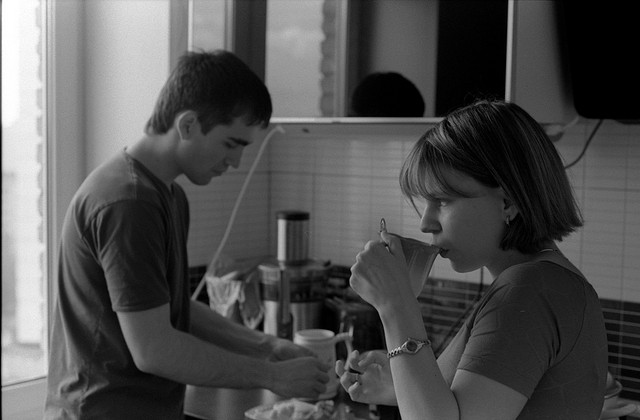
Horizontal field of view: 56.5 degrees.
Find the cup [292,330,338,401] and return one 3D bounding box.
[{"bbox_3d":[0.007,0.509,2.025,0.221,0.204,0.144,3,-6,-39],"label":"cup"}]

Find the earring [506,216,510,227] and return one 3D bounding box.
[{"bbox_3d":[0.407,0.025,1.283,0.006,0.024,0.010,3,9,21],"label":"earring"}]

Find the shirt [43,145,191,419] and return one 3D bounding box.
[{"bbox_3d":[-0.555,0.222,1.573,0.377,0.750,0.251,-3,9,-18],"label":"shirt"}]

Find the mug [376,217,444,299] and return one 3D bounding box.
[{"bbox_3d":[0.190,0.118,1.434,0.117,0.117,0.168,-11,-31,38],"label":"mug"}]

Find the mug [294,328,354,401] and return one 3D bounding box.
[{"bbox_3d":[-0.007,0.523,2.023,0.260,0.225,0.168,1,-3,-34],"label":"mug"}]
